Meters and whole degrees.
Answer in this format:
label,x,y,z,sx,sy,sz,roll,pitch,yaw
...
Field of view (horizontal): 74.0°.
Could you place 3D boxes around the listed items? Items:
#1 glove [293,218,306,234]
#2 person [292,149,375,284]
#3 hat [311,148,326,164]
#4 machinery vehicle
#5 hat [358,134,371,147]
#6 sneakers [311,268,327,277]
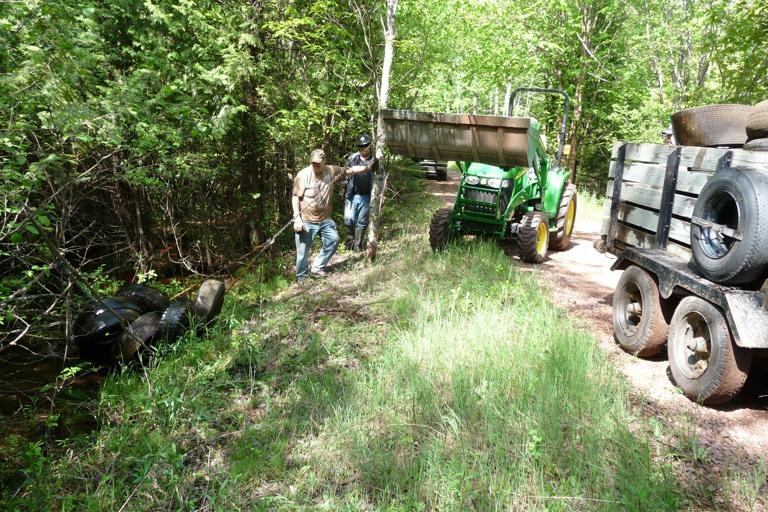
label,x,y,z,sx,sy,sz,roll,pitch,yaw
glove,-1.455,-0.532,8.727,0.208,0.238,0.186,1,33,0
person,-0.917,-0.642,8.918,1.336,2.229,0.748,-1,10,-12
hat,-1.095,-1.660,8.480,0.184,0.170,0.302,5,29,-6
machinery vehicle,2.375,-1.728,10.241,2.515,3.421,4.927,9,11,34
hat,-0.361,-2.131,9.520,0.237,0.188,0.199,0,18,-3
sneakers,-1.141,0.323,8.984,0.267,0.132,0.115,0,11,-5
